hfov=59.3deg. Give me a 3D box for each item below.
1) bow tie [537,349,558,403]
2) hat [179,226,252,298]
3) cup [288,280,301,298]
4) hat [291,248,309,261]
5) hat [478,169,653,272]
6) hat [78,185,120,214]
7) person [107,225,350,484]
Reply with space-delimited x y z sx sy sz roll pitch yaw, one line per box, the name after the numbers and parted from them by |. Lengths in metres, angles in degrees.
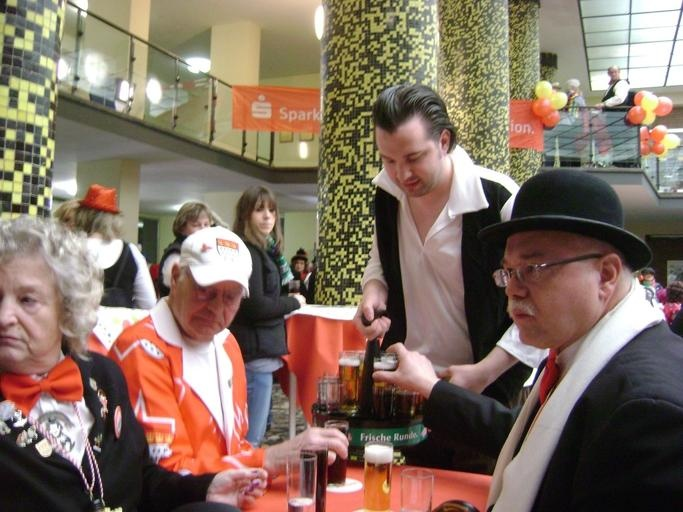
0.639 0.378 1.878 0.042 0.204 0.056 9 -20 4 | bow tie
-0.529 -0.005 2.519 0.221 0.192 0.305 23 0 -29 | hat
-0.648 0.444 8.688 0.193 0.297 0.281 -2 9 -18 | cup
-0.736 -0.071 11.265 0.317 0.229 0.335 8 -16 -16 | hat
0.680 -0.098 1.741 0.347 0.174 0.308 26 -20 -17 | hat
-1.696 -0.394 4.223 0.251 0.213 0.284 -1 1 -25 | hat
-0.361 0.354 2.923 0.949 1.675 0.745 -5 -1 11 | person
